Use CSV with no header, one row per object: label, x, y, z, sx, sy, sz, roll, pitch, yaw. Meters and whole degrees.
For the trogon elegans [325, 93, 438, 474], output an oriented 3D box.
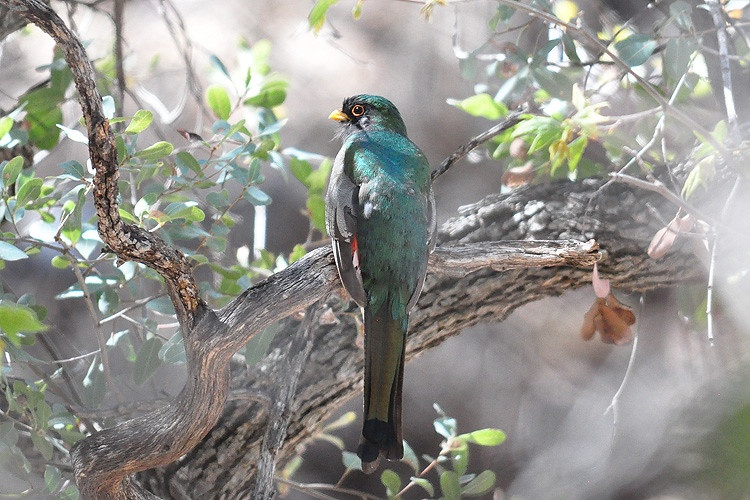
trogon elegans,0.027,0.124,5.010,0.654,2.094,0.871,1,-5,-6
